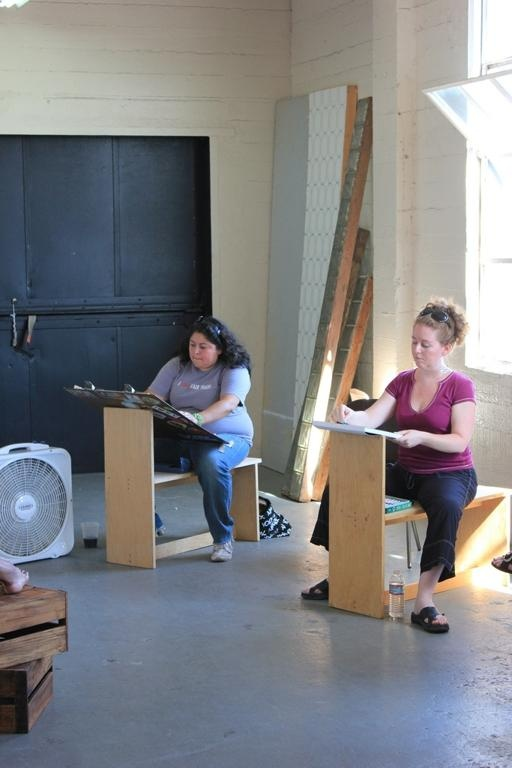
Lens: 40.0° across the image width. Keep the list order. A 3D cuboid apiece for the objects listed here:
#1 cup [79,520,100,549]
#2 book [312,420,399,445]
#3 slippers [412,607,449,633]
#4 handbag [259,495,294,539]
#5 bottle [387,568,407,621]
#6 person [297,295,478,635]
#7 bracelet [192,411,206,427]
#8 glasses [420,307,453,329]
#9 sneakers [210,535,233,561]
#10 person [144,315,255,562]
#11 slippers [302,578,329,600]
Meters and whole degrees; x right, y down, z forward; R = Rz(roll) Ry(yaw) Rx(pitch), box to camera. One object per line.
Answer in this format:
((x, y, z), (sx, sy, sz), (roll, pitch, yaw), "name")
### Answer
((-0.941, 0.885, 4.104), (0.141, 0.139, 0.132), (0, -6, 0), "cup")
((0.430, 0.193, 2.935), (0.205, 0.068, 0.402), (-2, 2, -35), "book")
((0.683, 0.918, 2.753), (0.064, 0.060, 0.158), (-2, -2, -24), "slippers")
((0.078, 0.825, 4.307), (0.251, 0.152, 0.172), (3, 16, 34), "handbag")
((0.589, 0.866, 2.948), (0.067, 0.181, 0.201), (-1, 1, 12), "bottle")
((0.643, 0.296, 3.008), (0.540, 1.333, 0.549), (-1, 2, 25), "person")
((-0.290, 0.188, 3.703), (0.058, 0.070, 0.073), (-4, 6, 20), "bracelet")
((0.774, -0.291, 3.034), (0.127, 0.091, 0.139), (-1, 1, 14), "glasses")
((-0.183, 0.893, 3.814), (0.125, 0.107, 0.163), (-1, 1, -4), "sneakers")
((-0.255, 0.286, 3.948), (0.512, 1.316, 0.530), (-2, 2, -34), "person")
((0.281, 0.925, 3.151), (0.155, 0.057, 0.055), (3, -2, 15), "slippers")
